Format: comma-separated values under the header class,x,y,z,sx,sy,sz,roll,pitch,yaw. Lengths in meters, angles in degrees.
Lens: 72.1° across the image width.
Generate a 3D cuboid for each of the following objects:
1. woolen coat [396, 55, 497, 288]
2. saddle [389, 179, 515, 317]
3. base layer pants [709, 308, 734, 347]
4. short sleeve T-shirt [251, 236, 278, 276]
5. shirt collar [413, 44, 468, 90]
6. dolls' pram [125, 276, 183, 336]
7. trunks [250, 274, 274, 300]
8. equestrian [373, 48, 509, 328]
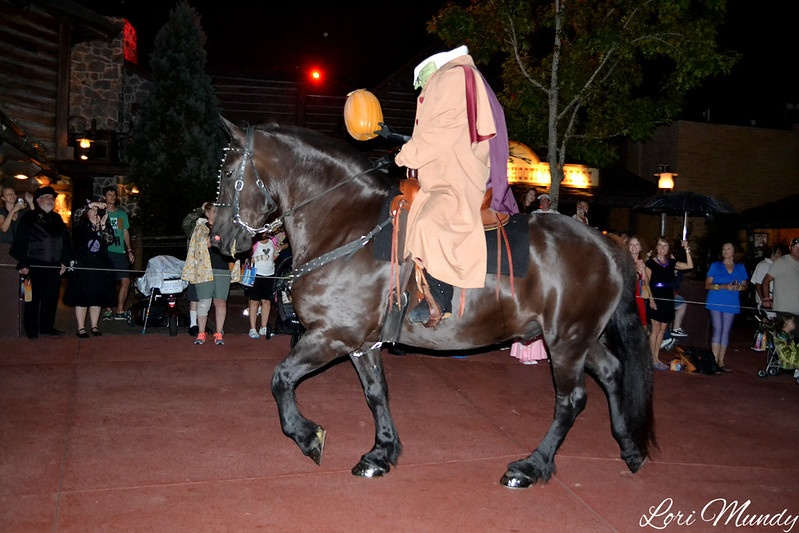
class,x,y,z,sx,sy,sz,roll,pitch,yaw
woolen coat,0.481,-1.028,5.985,0.980,2.430,1.122,-3,5,-3
saddle,0.470,-0.289,5.975,0.804,1.887,1.641,0,0,-13
base layer pants,5.925,1.100,10.116,0.375,0.634,0.288,9,15,25
short sleeve T-shirt,-2.446,-0.178,9.906,0.710,0.675,0.399,-4,8,-38
shirt collar,0.446,-2.190,5.946,0.538,0.278,0.408,-14,13,10
dolls' pram,-4.874,0.880,10.916,0.727,0.933,1.584,2,2,-28
trunks,-2.611,0.369,10.483,0.405,0.527,0.308,6,5,-24
equestrian,0.546,-0.898,6.020,1.316,2.830,1.281,2,-3,8
